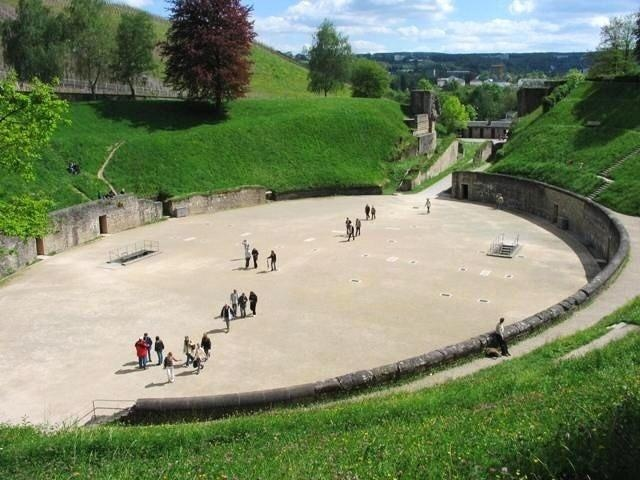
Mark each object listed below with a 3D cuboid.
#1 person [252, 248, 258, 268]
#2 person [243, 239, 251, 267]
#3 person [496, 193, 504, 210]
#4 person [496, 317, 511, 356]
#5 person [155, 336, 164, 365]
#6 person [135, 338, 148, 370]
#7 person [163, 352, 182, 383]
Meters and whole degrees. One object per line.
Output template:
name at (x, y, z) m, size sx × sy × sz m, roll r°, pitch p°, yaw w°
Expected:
person at (-4.281, 1.127, 46.967) m, size 0.326 × 1.297 × 1.364 m, roll -3°, pitch 15°, yaw -7°
person at (-4.791, 0.952, 47.130) m, size 0.413 × 1.512 × 1.461 m, roll -3°, pitch 14°, yaw -6°
person at (17.365, -3.770, 68.487) m, size 0.731 × 1.235 × 2.128 m, roll 2°, pitch 15°, yaw 14°
person at (8.828, 4.573, 34.360) m, size 0.708 × 1.602 × 1.366 m, roll 2°, pitch 15°, yaw 15°
person at (-7.958, 5.312, 35.193) m, size 0.466 × 1.423 × 0.964 m, roll -5°, pitch 15°, yaw -14°
person at (-8.587, 5.505, 34.486) m, size 0.551 × 1.391 × 0.495 m, roll -8°, pitch 15°, yaw -24°
person at (-7.076, 6.162, 34.118) m, size 0.933 × 1.897 × 0.658 m, roll 4°, pitch 32°, yaw 5°
